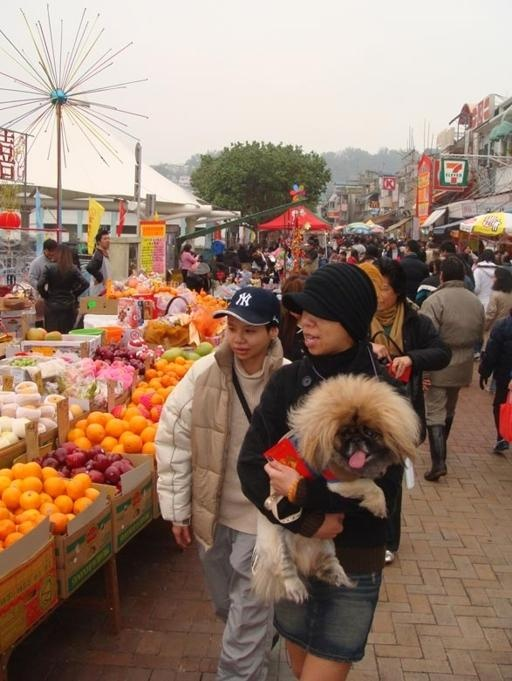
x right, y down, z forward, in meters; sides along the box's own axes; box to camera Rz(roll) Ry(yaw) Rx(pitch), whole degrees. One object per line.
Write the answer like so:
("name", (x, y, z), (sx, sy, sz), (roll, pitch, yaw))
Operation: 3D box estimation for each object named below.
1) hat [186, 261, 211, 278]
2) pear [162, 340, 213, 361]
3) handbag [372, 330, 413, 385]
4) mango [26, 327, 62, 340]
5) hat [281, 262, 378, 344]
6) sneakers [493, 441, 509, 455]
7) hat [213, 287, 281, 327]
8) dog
("hat", (-1.286, -1.676, 12.454), (0.460, 0.258, 0.557), (0, 0, -3))
("pear", (-0.710, 0.098, 5.510), (0.277, 0.094, 0.138), (-14, -14, -31))
("handbag", (0.685, 0.076, 2.753), (0.127, 0.268, 0.201), (-22, 22, -25))
("mango", (-2.058, -0.051, 5.341), (0.265, 0.115, 0.147), (10, 1, 4))
("hat", (0.209, -0.103, 1.477), (0.266, 0.210, 0.200), (-1, 9, -6))
("sneakers", (2.617, 1.136, 5.855), (0.096, 0.098, 0.238), (-1, -3, 10))
("hat", (-0.020, -0.132, 2.102), (0.146, 0.103, 0.212), (6, -2, 37))
("dog", (0.134, 0.348, 1.330), (0.311, 0.474, 0.394), (9, -19, -33))
